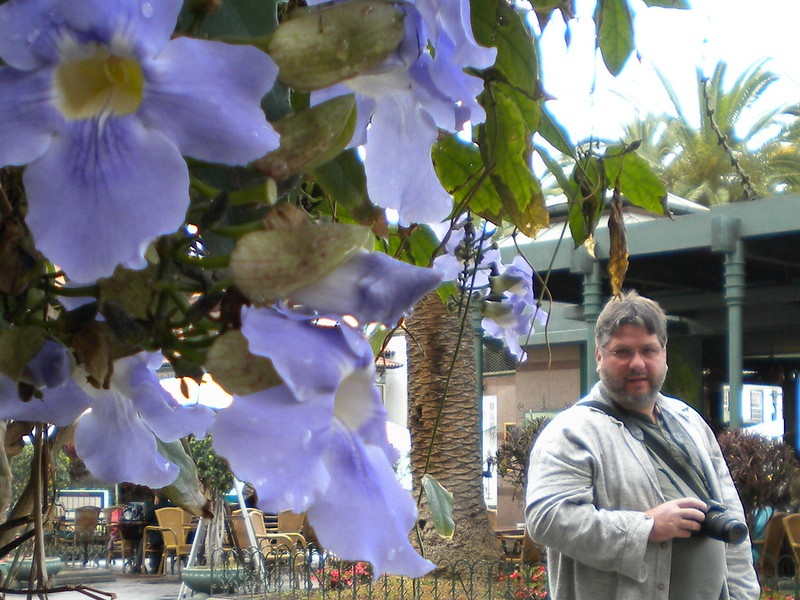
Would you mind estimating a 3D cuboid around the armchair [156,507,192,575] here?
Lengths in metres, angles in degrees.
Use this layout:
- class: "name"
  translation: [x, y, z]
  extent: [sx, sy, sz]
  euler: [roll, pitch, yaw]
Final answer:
- class: "armchair"
  translation: [-3.319, 3.622, 13.062]
  extent: [0.610, 0.991, 0.649]
  euler: [-6, -8, 22]

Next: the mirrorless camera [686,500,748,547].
- class: "mirrorless camera"
  translation: [1.048, 0.707, 2.831]
  extent: [0.138, 0.102, 0.159]
  euler: [-1, -7, -15]

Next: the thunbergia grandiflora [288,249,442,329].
- class: "thunbergia grandiflora"
  translation: [-0.019, -0.006, 0.515]
  extent: [0.056, 0.059, 0.021]
  euler: [11, -28, 1]

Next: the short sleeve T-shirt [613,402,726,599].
- class: "short sleeve T-shirt"
  translation: [1.002, 0.772, 3.170]
  extent: [0.169, 0.526, 0.364]
  euler: [1, -15, -22]

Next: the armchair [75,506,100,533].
- class: "armchair"
  translation: [-5.676, 3.978, 15.698]
  extent: [0.417, 0.354, 0.430]
  euler: [9, -19, -28]
